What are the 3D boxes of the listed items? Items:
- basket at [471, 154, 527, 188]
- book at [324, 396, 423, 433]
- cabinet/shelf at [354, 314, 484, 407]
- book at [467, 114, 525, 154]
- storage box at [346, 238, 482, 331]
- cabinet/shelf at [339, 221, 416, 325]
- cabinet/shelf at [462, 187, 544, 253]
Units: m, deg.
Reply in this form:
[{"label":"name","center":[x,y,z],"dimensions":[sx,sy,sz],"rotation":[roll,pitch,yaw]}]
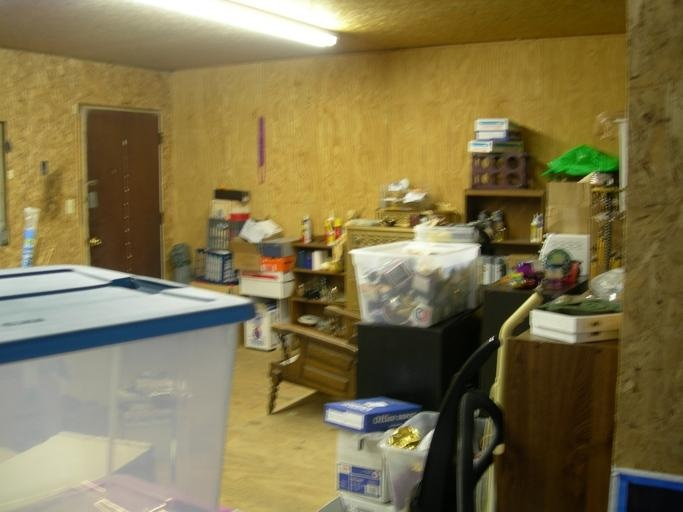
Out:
[{"label":"basket","center":[1.295,-0.692,4.889],"dimensions":[0.414,0.276,0.240],"rotation":[4,6,26]},{"label":"book","center":[0.134,0.682,2.600],"dimensions":[0.204,0.048,0.208],"rotation":[0,1,37]},{"label":"cabinet/shelf","center":[0.376,0.476,3.024],"dimensions":[0.399,0.541,0.555],"rotation":[3,6,30]},{"label":"book","center":[1.245,-0.934,4.718],"dimensions":[0.333,0.206,0.330],"rotation":[6,10,41]},{"label":"storage box","center":[0.349,0.126,2.930],"dimensions":[0.388,0.275,0.584],"rotation":[0,1,32]},{"label":"cabinet/shelf","center":[0.212,0.107,5.606],"dimensions":[0.282,0.671,0.746],"rotation":[-18,-8,38]},{"label":"cabinet/shelf","center":[1.309,-0.283,4.755],"dimensions":[0.565,0.535,0.188],"rotation":[0,2,22]}]
